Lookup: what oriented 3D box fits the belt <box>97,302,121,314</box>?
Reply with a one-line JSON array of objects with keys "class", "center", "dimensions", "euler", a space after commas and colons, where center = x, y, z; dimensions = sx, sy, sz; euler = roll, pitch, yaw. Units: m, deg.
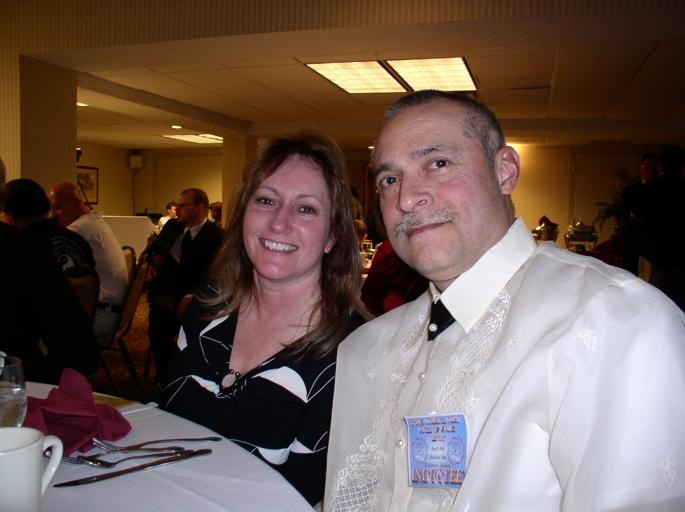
[{"class": "belt", "center": [-1.799, 0.394, 3.739], "dimensions": [0.120, 0.039, 0.136], "euler": [8, 1, 5]}]
